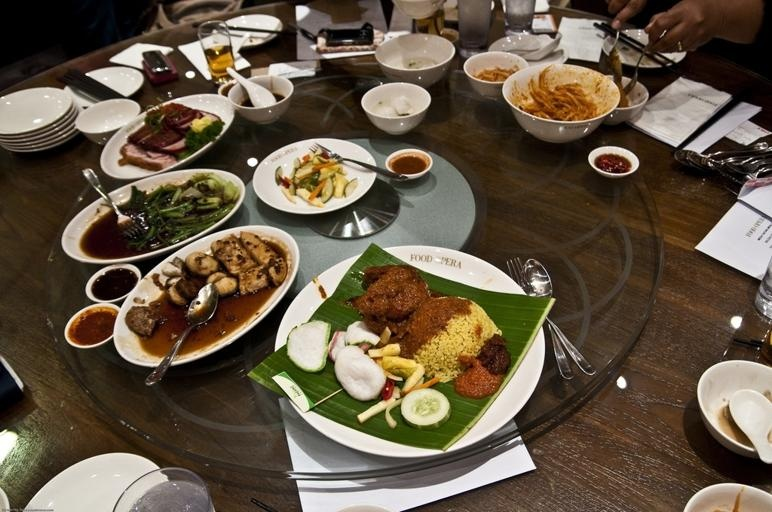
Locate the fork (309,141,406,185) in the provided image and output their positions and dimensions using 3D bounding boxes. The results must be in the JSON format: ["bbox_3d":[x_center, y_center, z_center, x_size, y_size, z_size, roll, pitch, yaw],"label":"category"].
[{"bbox_3d":[-0.232,-0.683,4.201,0.717,0.079,0.093,24,81,4],"label":"fork"}]

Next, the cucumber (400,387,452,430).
[{"bbox_3d":[0.220,0.850,3.169,0.267,0.060,0.223,1,65,-1],"label":"cucumber"}]

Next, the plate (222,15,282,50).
[{"bbox_3d":[-1.290,-2.201,5.467,0.485,0.096,0.480,-27,50,-26],"label":"plate"}]

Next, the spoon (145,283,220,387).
[{"bbox_3d":[-1.189,0.402,3.520,0.204,0.124,0.857,2,54,31],"label":"spoon"}]
